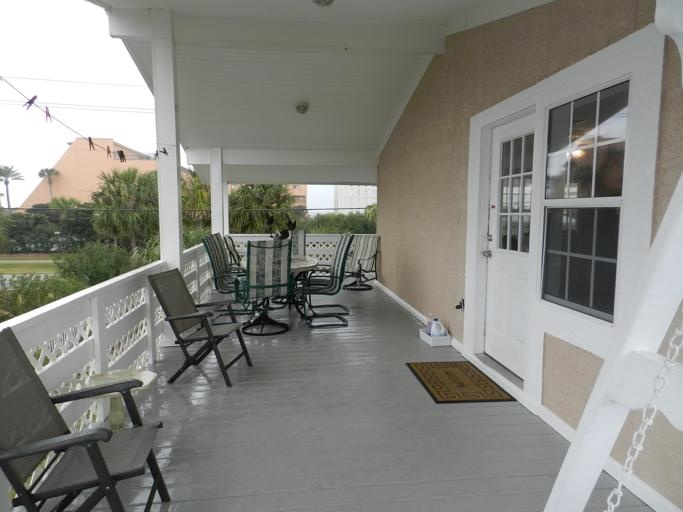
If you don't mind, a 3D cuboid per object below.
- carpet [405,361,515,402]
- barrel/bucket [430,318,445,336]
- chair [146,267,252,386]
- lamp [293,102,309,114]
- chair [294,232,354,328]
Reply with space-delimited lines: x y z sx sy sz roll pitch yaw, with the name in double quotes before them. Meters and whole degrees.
"carpet" 1.058 1.152 4.396 0.691 0.039 0.974 -2 11 -10
"barrel/bucket" 1.097 0.809 5.424 0.116 0.229 0.196 -3 7 -34
"chair" -1.394 0.618 4.811 0.968 1.544 0.902 -4 7 2
"lamp" -0.624 -2.405 7.637 0.228 0.165 0.436 -2 11 -5
"chair" -0.253 0.292 6.891 0.999 1.675 1.130 1 3 -3
